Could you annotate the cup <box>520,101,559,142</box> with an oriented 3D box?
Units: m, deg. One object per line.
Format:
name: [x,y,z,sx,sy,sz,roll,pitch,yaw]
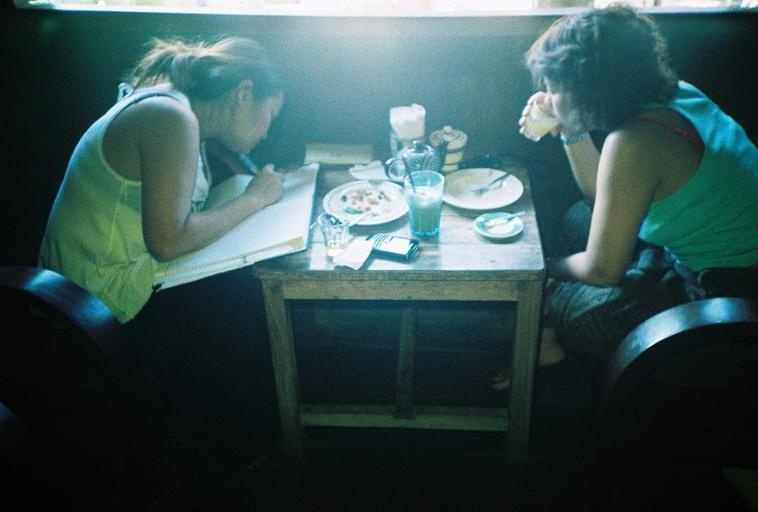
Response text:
cup: [0.675,-0.554,2.593,0.123,0.136,0.070,41,46,14]

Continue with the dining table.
dining table: [0.129,0.210,2.796,1.154,0.903,1.090,0,45,5]

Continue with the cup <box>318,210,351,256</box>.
cup: [-0.143,-0.090,2.303,0.150,0.155,0.143,-1,30,1]

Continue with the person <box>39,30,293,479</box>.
person: [-0.817,-0.182,2.618,0.902,1.368,0.647,7,31,-28]

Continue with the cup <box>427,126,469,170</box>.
cup: [0.324,-0.481,2.725,0.159,0.171,0.200,11,40,19]

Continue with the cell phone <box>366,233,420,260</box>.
cell phone: [0.047,-0.040,2.240,0.144,0.036,0.088,11,42,13]
